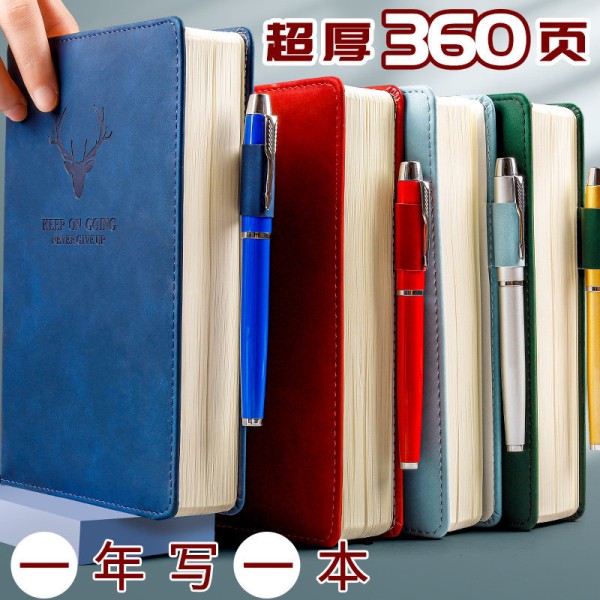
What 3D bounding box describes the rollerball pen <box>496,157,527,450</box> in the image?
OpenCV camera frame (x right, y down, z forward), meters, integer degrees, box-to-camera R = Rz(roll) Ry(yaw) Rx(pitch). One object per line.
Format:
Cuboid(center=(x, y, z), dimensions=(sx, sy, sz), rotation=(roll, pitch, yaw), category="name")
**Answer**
Cuboid(center=(0.192, 0.003, 0.694), dimensions=(0.029, 0.267, 0.028), rotation=(-1, 0, -31), category="rollerball pen")
